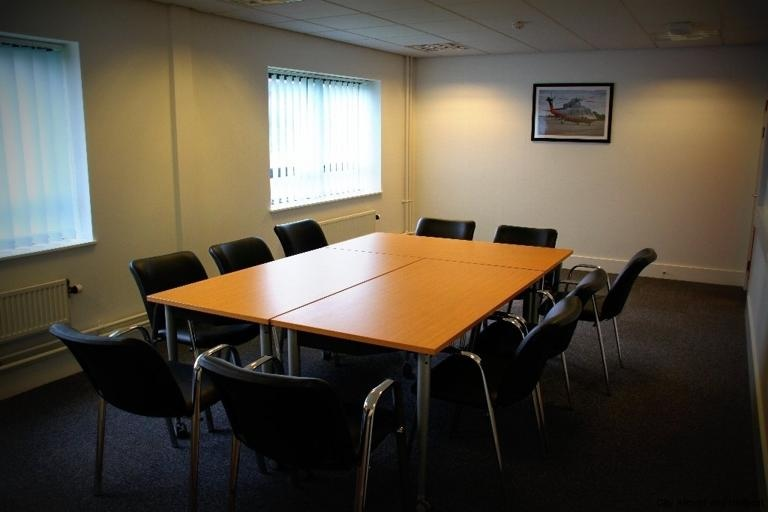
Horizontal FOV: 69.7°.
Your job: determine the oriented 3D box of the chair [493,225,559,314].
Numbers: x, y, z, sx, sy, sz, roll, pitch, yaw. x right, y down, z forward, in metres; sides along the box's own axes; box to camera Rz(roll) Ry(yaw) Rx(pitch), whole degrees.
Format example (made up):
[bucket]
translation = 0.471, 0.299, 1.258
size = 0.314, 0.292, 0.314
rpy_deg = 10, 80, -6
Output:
[chair]
translation = 1.476, 0.100, 5.673
size = 0.713, 1.064, 0.669
rpy_deg = 4, 10, 25
